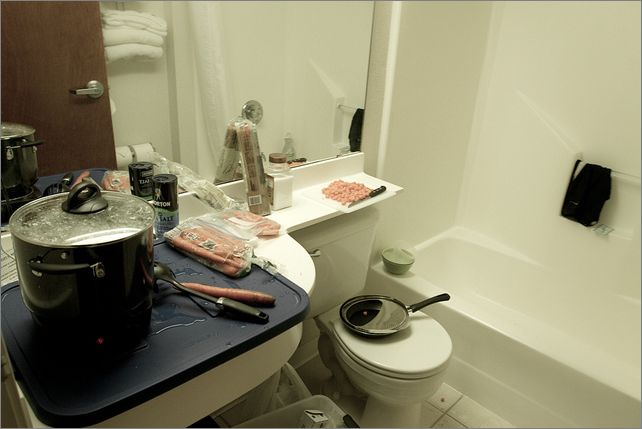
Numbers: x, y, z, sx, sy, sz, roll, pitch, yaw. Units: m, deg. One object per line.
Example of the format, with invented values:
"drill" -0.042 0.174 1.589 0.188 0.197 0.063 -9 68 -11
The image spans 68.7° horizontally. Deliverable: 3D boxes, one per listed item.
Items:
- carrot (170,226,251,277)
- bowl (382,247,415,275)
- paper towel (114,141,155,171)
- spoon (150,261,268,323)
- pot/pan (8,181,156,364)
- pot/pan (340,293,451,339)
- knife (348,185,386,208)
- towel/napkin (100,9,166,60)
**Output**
"carrot" -0.321 0.082 1.401 0.229 0.069 0.128 22 34 20
"bowl" 0.404 0.239 2.425 0.144 0.070 0.142 1 23 0
"paper towel" -0.594 -0.190 1.520 0.132 0.075 0.027 -19 33 -36
"spoon" -0.299 0.213 1.265 0.340 0.037 0.071 17 55 19
"pot/pan" -0.529 0.106 1.214 0.365 0.324 0.366 28 33 32
"pot/pan" 0.269 0.401 1.923 0.309 0.044 0.178 -10 25 -22
"knife" 0.187 -0.078 1.921 0.183 0.022 0.031 -27 44 -32
"towel/napkin" -0.574 -0.549 1.449 0.157 0.162 0.072 -9 2 -38
